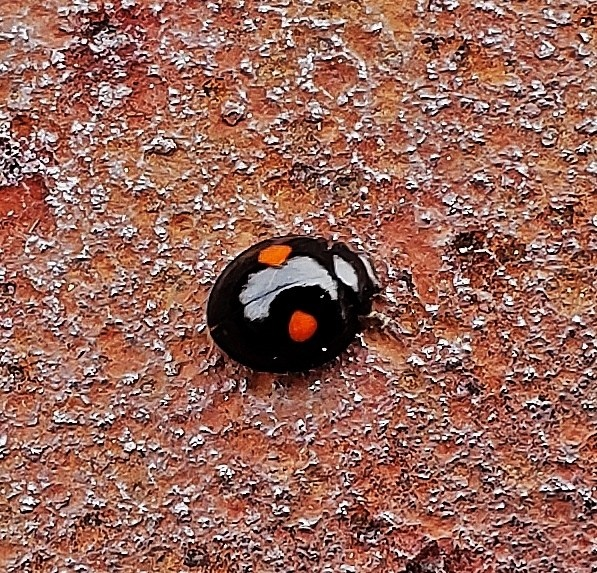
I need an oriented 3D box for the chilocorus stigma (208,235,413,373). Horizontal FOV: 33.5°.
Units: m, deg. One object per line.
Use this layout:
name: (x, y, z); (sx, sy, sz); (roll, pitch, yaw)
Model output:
chilocorus stigma: (-0.004, 0.018, 1.147); (0.212, 0.082, 0.154); (-9, 83, -2)
